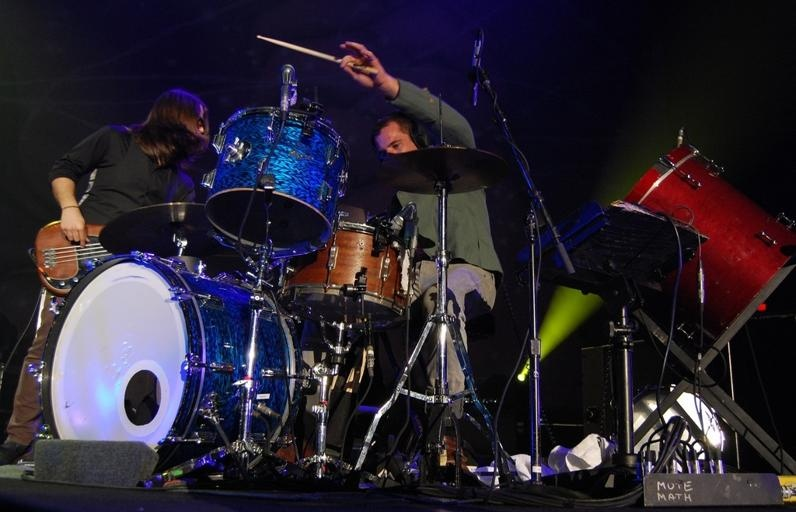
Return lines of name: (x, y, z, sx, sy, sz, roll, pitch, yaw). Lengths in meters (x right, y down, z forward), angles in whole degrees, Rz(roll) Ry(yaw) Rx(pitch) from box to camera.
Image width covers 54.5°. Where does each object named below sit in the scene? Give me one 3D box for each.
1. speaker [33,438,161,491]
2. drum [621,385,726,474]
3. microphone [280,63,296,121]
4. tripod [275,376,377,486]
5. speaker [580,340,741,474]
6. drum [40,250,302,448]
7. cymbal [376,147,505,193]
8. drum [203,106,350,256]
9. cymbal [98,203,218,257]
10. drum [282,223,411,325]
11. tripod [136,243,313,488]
speaker: (-1.570, 1.068, 3.966, 0.658, 0.222, 0.146, -2, -20, 13)
drum: (1.841, 1.128, 5.034, 0.472, 0.210, 0.596, 26, 29, 28)
microphone: (-0.657, -0.970, 4.545, 0.118, 0.318, 0.109, 2, -9, -12)
tripod: (-0.467, 1.033, 4.660, 0.549, 0.624, 0.581, -8, -16, 33)
speaker: (1.756, 0.973, 5.269, 0.867, 0.997, 0.680, 1, -5, -5)
drum: (-1.266, 0.656, 4.608, 1.086, 1.121, 0.908, -2, -10, 31)
cymbal: (0.290, -0.540, 4.720, 0.420, 0.110, 0.430, -1, -18, 0)
drum: (-0.832, -0.408, 4.906, 0.960, 0.747, 0.951, -14, 3, 1)
cymbal: (-1.481, -0.159, 4.764, 0.442, 0.107, 0.457, -10, -37, 6)
drum: (-0.274, 0.122, 4.830, 0.683, 0.422, 0.703, 9, -34, 6)
tripod: (-0.705, 0.782, 4.807, 0.766, 1.200, 1.101, -2, -11, 25)
